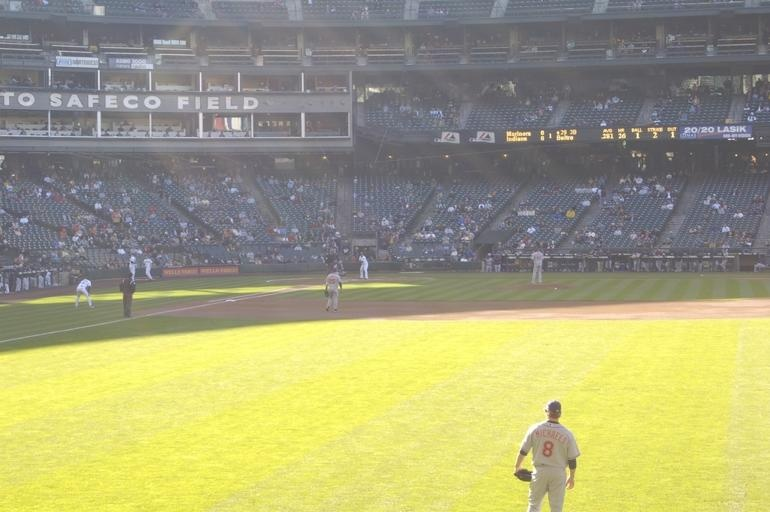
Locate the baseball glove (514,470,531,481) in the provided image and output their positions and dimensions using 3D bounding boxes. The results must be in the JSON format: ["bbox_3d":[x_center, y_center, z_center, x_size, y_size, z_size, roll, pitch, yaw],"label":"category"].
[{"bbox_3d":[6.420,10.351,59.928,0.811,0.217,0.522,3,0,10],"label":"baseball glove"}]
